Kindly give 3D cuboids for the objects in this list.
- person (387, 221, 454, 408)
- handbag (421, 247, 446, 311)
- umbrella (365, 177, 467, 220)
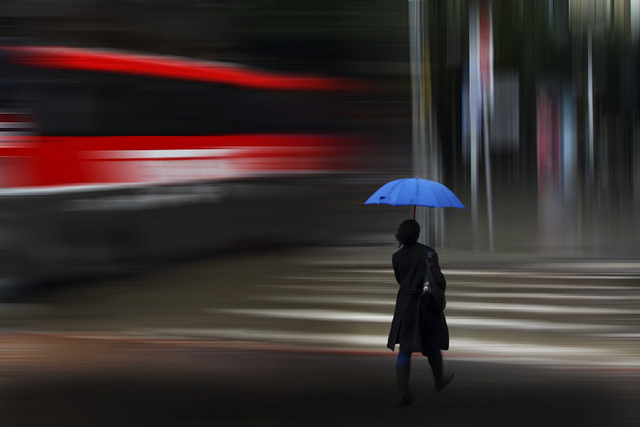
[{"bbox_3d":[1.283,1.339,8.381,0.752,2.292,0.794,0,-9,14],"label":"person"},{"bbox_3d":[1.467,0.879,8.186,0.303,0.763,0.135,7,-10,-28],"label":"handbag"},{"bbox_3d":[1.243,-0.068,8.576,1.111,0.478,0.897,5,7,19],"label":"umbrella"}]
